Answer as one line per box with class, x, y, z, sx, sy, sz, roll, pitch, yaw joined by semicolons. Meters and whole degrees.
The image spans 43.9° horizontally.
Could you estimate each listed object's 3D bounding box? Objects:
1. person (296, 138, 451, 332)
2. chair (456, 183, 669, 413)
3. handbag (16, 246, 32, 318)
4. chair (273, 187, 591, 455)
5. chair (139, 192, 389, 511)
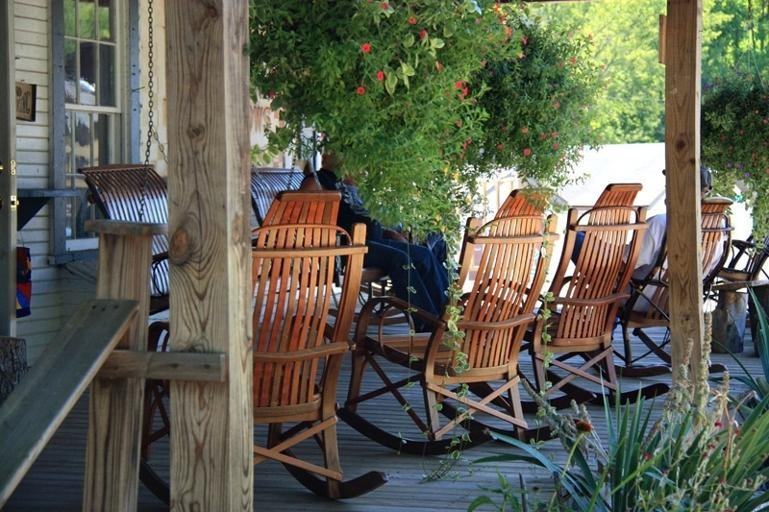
person;0.019;-0.169;6.943;0.721;1.325;0.584;4;26;40
chair;1.360;0.287;6.547;1.078;1.993;1.526;-1;4;-42
handbag;-2.590;0.179;6.905;0.078;0.495;0.170;3;5;19
chair;0.393;0.370;6.092;0.915;1.770;1.230;0;8;-38
chair;-0.370;0.509;5.392;0.776;1.760;0.666;0;5;-14
